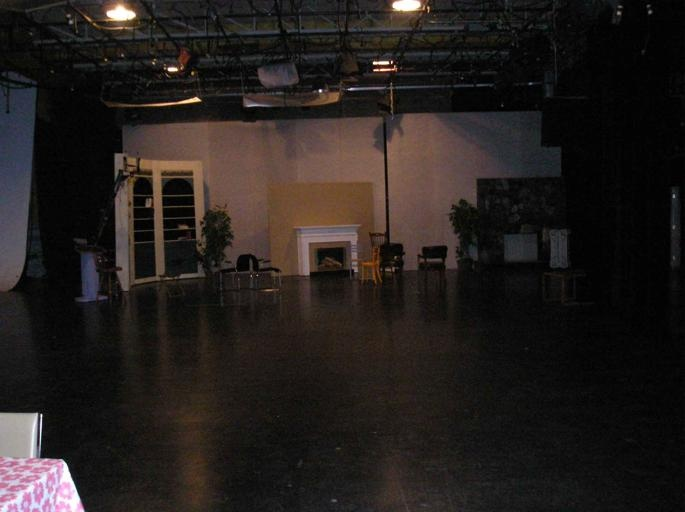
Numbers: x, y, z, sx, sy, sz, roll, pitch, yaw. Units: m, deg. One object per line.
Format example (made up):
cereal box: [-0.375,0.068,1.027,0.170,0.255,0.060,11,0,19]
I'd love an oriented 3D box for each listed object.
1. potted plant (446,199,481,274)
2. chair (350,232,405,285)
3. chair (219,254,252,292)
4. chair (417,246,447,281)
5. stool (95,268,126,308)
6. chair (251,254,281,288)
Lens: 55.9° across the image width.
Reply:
potted plant: [3.158,-0.554,16.714,0.684,1.790,0.404,0,7,6]
chair: [0.877,0.062,15.207,1.008,1.958,1.210,0,-4,1]
chair: [-2.300,0.336,14.165,0.623,0.936,0.621,2,-3,34]
chair: [2.010,0.181,14.432,0.612,0.988,0.733,0,9,-2]
stool: [-4.765,0.548,13.278,0.499,0.716,1.313,-4,8,-20]
chair: [-1.731,0.319,14.717,0.641,1.038,0.552,-6,7,-10]
